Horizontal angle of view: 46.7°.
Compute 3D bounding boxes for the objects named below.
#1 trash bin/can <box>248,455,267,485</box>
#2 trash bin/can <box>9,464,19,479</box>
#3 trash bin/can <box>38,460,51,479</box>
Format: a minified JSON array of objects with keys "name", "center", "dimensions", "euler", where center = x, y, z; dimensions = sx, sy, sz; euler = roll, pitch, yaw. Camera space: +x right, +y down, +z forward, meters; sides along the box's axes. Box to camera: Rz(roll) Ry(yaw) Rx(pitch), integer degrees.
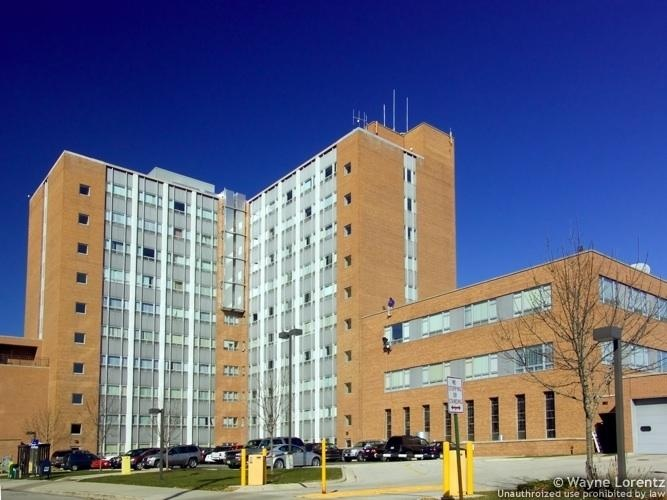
[{"name":"trash bin/can","center":[-4.358,12.443,43.839],"dimensions":[1.087,2.069,1.107],"euler":[5,-30,-14]},{"name":"trash bin/can","center":[-24.156,16.642,58.147],"dimensions":[0.669,1.281,0.698],"euler":[-2,-24,-10]},{"name":"trash bin/can","center":[-21.094,15.822,56.051],"dimensions":[0.410,1.337,0.970],"euler":[-5,-23,5]}]
